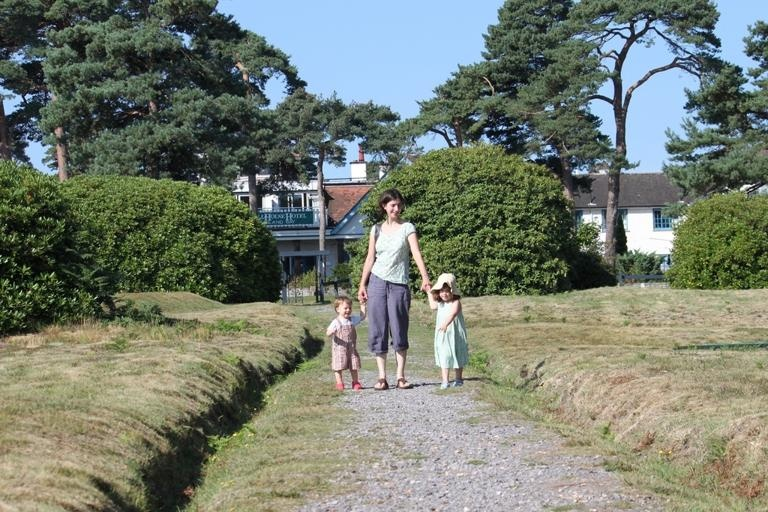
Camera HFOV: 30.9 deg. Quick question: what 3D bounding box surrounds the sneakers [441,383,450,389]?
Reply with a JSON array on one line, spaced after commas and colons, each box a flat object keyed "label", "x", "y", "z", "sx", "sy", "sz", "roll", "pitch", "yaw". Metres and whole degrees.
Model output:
[{"label": "sneakers", "x": 1.602, "y": 3.409, "z": 36.767, "sx": 0.255, "sy": 0.125, "sz": 0.149, "roll": -2, "pitch": 8, "yaw": 16}]

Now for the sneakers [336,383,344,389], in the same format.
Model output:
[{"label": "sneakers", "x": -1.163, "y": 3.457, "z": 37.137, "sx": 0.224, "sy": 0.135, "sz": 0.204, "roll": -5, "pitch": 8, "yaw": -6}]
